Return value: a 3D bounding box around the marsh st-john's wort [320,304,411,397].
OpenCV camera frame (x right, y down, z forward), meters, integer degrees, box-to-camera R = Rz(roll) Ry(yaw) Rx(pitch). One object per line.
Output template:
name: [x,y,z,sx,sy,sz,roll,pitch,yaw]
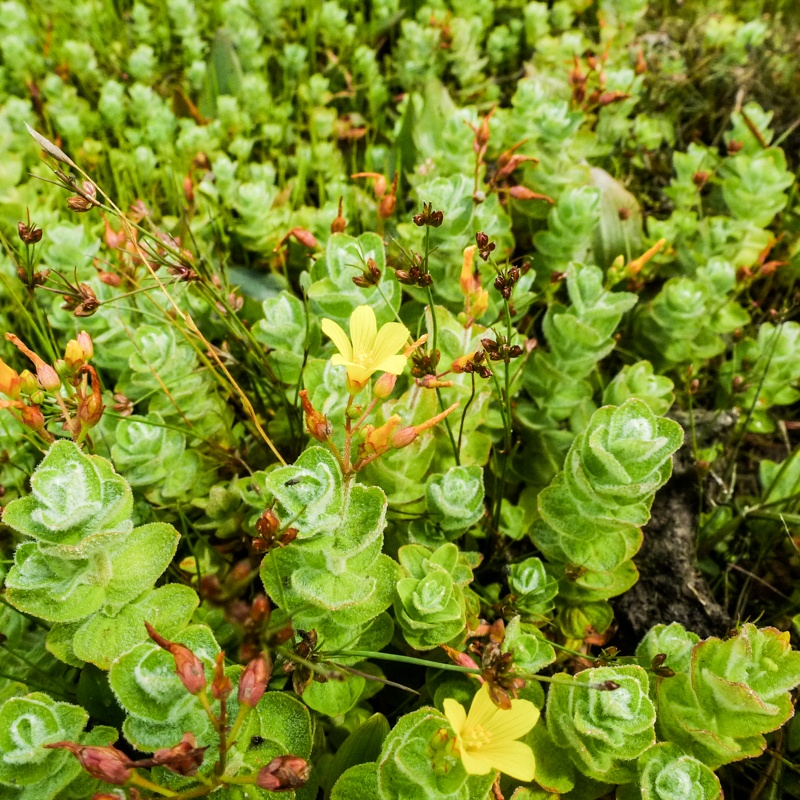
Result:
marsh st-john's wort: [-0.059,-0.084,1.330,0.141,0.096,0.138,0,51,-2]
